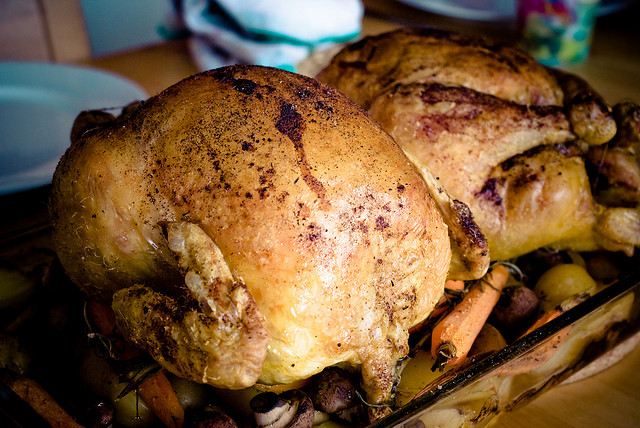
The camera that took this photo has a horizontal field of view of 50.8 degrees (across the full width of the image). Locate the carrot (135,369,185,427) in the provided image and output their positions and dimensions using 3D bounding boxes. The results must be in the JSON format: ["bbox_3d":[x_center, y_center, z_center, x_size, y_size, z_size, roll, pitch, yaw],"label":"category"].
[{"bbox_3d":[-0.542,0.645,2.328,0.228,0.079,0.117,44,68,11],"label":"carrot"}]

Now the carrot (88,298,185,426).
[{"bbox_3d":[-0.621,0.523,2.310,0.087,0.115,0.459,-31,74,-28],"label":"carrot"}]

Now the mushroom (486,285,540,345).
[{"bbox_3d":[0.745,0.389,2.647,0.158,0.121,0.220,34,85,2],"label":"mushroom"}]

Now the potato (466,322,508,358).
[{"bbox_3d":[0.628,0.471,2.548,0.127,0.105,0.069,-53,17,-8],"label":"potato"}]

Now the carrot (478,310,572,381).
[{"bbox_3d":[0.744,0.478,2.420,0.314,0.080,0.086,-37,18,-6],"label":"carrot"}]

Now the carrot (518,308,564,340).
[{"bbox_3d":[0.805,0.403,2.452,0.020,0.148,0.035,56,25,11],"label":"carrot"}]

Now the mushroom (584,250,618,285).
[{"bbox_3d":[1.133,0.216,2.746,0.103,0.079,0.137,-26,57,-6],"label":"mushroom"}]

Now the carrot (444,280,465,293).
[{"bbox_3d":[0.529,0.278,2.629,0.046,0.037,0.061,4,2,11],"label":"carrot"}]

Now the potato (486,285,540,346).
[{"bbox_3d":[0.733,0.380,2.642,0.161,0.121,0.220,36,85,-3],"label":"potato"}]

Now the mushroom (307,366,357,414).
[{"bbox_3d":[0.042,0.608,2.334,0.134,0.082,0.143,1,38,1],"label":"mushroom"}]

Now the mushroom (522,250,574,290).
[{"bbox_3d":[0.903,0.172,2.688,0.138,0.109,0.179,25,50,33],"label":"mushroom"}]
